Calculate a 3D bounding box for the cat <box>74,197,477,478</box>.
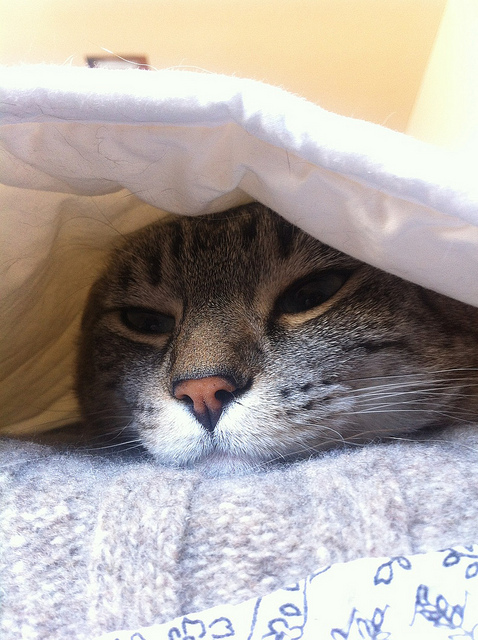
[{"bbox_3d":[0.044,0.028,0.780,0.325,0.375,0.131,-4,64,21],"label":"cat"}]
